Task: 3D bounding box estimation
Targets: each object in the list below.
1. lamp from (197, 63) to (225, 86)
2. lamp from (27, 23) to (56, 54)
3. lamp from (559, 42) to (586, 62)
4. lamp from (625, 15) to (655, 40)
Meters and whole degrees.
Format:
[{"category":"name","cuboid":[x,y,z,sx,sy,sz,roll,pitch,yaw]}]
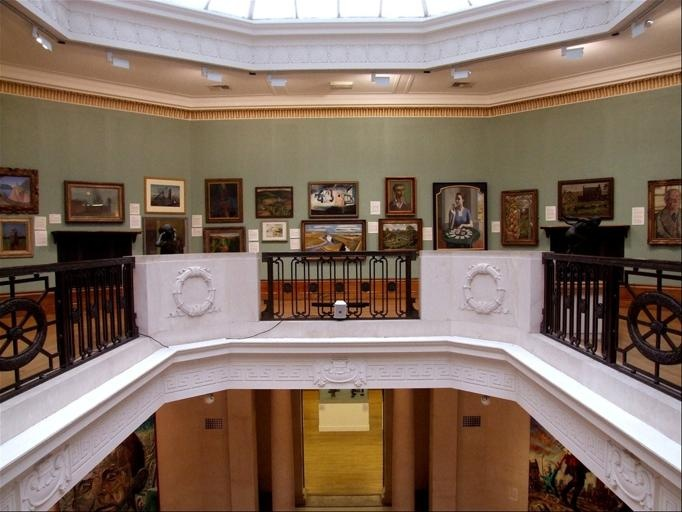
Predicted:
[{"category":"lamp","cuboid":[-3.108,-4.265,11.964,0.407,0.323,0.298,1,19,-26]},{"category":"lamp","cuboid":[-6.254,-4.489,10.451,0.091,0.302,0.412,12,-6,12]},{"category":"lamp","cuboid":[5.084,-4.454,11.027,0.602,0.229,0.265,-3,7,-14]},{"category":"lamp","cuboid":[6.083,-4.578,10.186,0.420,0.255,0.546,2,8,31]}]
